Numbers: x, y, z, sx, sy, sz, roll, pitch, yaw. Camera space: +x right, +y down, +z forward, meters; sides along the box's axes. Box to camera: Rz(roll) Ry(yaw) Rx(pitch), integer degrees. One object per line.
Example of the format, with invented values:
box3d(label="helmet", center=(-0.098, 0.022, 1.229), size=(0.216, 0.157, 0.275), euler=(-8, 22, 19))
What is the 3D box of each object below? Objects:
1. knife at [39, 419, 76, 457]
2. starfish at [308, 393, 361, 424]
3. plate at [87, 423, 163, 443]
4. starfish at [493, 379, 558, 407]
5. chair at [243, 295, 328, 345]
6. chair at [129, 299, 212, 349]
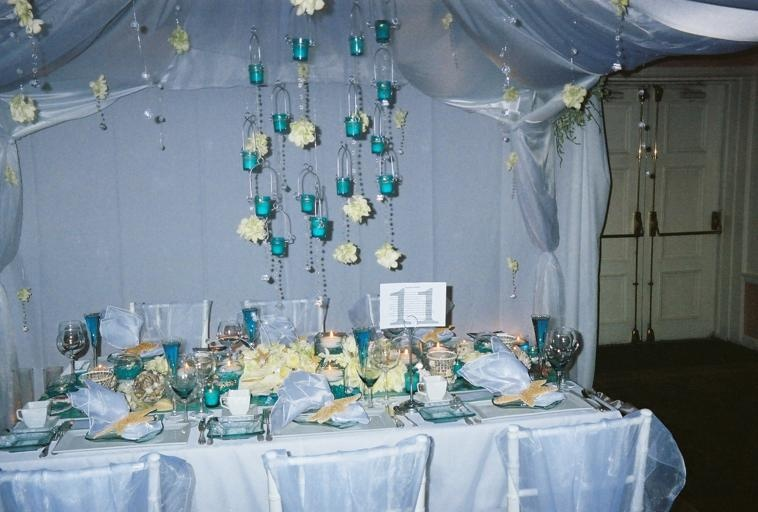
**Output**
box3d(label="knife", center=(-1.713, 0.981, 3.611), size=(0.077, 0.039, 0.248), euler=(16, 11, -8))
box3d(label="starfish", center=(-0.243, 0.850, 3.752), size=(0.303, 0.089, 0.107), euler=(-19, 44, -28))
box3d(label="plate", center=(-1.337, 0.954, 3.624), size=(0.211, 0.059, 0.171), euler=(6, -9, -1))
box3d(label="starfish", center=(0.842, 0.804, 3.920), size=(0.235, 0.023, 0.171), euler=(-11, 15, -7))
box3d(label="chair", center=(-0.696, 0.488, 5.352), size=(0.537, 0.414, 0.323), euler=(3, -13, -20))
box3d(label="chair", center=(-1.596, 0.526, 5.293), size=(0.545, 0.447, 0.466), euler=(-1, 10, -21))
